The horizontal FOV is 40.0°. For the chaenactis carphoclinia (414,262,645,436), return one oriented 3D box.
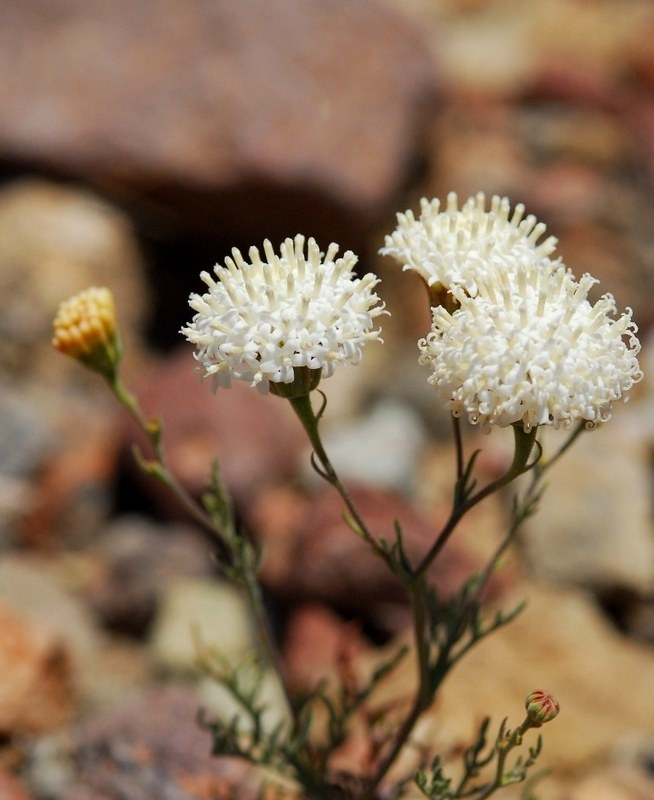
[{"bbox_3d":[0.153,-0.036,0.675,0.178,0.080,0.142,-3,29,1],"label":"chaenactis carphoclinia"}]

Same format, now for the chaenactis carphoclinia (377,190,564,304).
[{"bbox_3d":[0.118,-0.129,0.760,0.147,0.057,0.118,-1,9,2],"label":"chaenactis carphoclinia"}]

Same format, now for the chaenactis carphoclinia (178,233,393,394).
[{"bbox_3d":[-0.019,-0.067,0.727,0.175,0.085,0.144,-17,11,13],"label":"chaenactis carphoclinia"}]
